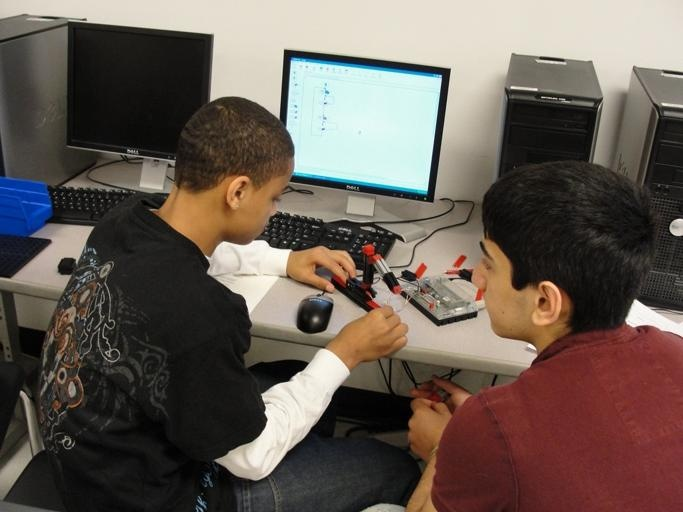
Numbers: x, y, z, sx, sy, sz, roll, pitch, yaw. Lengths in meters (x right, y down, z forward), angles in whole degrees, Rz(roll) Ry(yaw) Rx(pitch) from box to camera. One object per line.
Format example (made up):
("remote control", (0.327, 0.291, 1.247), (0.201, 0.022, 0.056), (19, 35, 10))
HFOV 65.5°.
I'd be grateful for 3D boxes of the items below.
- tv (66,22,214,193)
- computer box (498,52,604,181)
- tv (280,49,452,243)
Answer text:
("tv", (-0.659, -0.504, 1.725), (0.577, 0.641, 0.189), (8, 20, 7))
("computer box", (0.616, -0.355, 1.641), (0.247, 0.455, 0.342), (11, 43, 17))
("tv", (0.074, -0.366, 1.709), (0.523, 0.507, 0.265), (9, 33, 9))
